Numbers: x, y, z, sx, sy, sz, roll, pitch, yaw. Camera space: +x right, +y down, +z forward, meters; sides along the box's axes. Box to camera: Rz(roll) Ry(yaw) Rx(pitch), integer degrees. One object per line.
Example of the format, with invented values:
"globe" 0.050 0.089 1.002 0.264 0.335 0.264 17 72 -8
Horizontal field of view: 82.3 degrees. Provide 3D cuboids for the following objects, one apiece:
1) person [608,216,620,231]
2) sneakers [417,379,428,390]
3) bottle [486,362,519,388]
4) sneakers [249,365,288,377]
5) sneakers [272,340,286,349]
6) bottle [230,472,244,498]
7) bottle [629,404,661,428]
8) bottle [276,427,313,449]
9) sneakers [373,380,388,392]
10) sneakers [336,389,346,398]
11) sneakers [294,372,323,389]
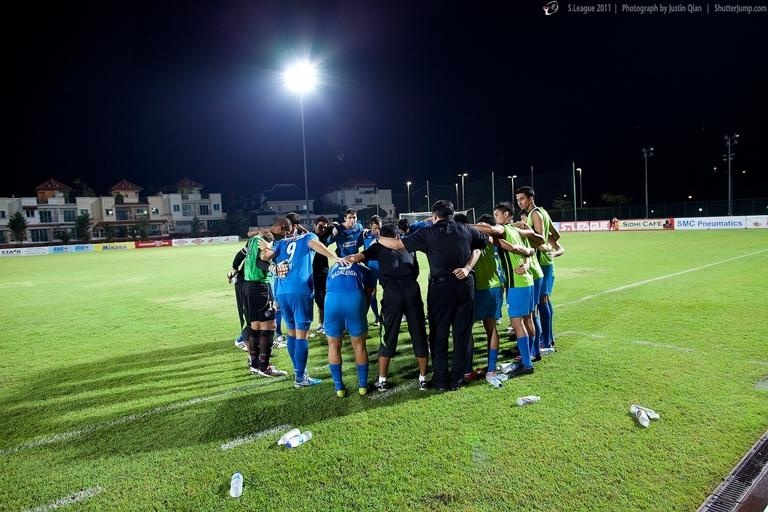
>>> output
"person" 22.467 -3.116 42.815 0.859 1.198 1.978 -3 5 19
"sneakers" 0.544 1.774 6.051 0.083 0.100 0.151 2 3 3
"bottle" 1.709 1.684 6.287 0.194 0.255 0.585 -9 3 43
"sneakers" -1.754 1.768 6.710 0.573 0.253 0.209 0 -4 -4
"sneakers" -1.955 1.675 8.291 0.280 0.135 0.096 -2 1 29
"bottle" -1.486 2.321 4.438 0.145 0.154 0.245 -14 25 -15
"bottle" 3.054 1.881 5.139 0.324 0.148 0.317 -4 4 0
"bottle" -0.993 2.057 5.014 0.200 0.070 0.236 1 -3 29
"sneakers" -0.036 1.774 6.021 0.100 0.124 0.258 1 -1 -5
"sneakers" -0.584 1.848 5.876 0.088 0.112 0.098 -4 46 3
"sneakers" -1.078 1.779 6.251 0.431 0.204 0.159 -2 -2 -4
